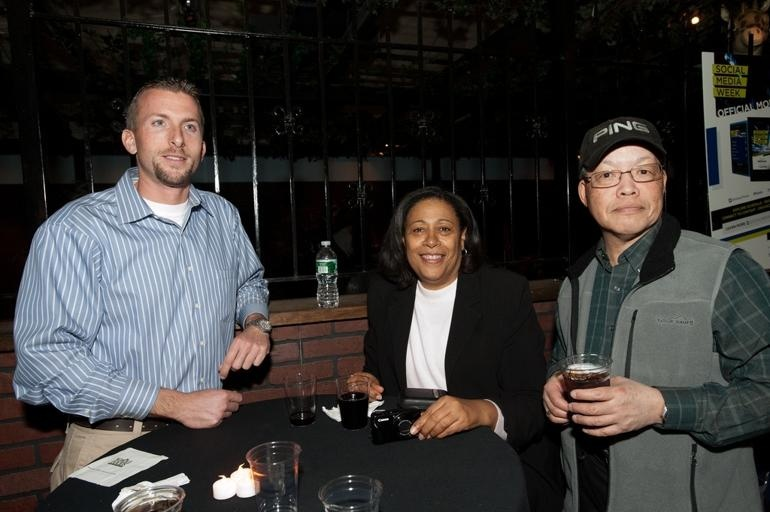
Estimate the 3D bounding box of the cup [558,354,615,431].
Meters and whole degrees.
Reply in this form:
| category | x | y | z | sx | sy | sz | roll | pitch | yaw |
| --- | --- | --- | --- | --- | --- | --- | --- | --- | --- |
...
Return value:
| category | x | y | z | sx | sy | sz | roll | pitch | yaw |
| --- | --- | --- | --- | --- | --- | --- | --- | --- | --- |
| cup | 1.044 | 0.663 | 2.926 | 0.282 | 0.220 | 0.268 | -9 | -3 | 0 |

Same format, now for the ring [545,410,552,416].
| category | x | y | z | sx | sy | sz | roll | pitch | yaw |
| --- | --- | --- | --- | --- | --- | --- | --- | --- | --- |
| ring | 0.901 | 0.860 | 3.123 | 0.012 | 0.034 | 0.025 | -38 | -9 | -27 |

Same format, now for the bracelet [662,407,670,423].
| category | x | y | z | sx | sy | sz | roll | pitch | yaw |
| --- | --- | --- | --- | --- | --- | --- | --- | --- | --- |
| bracelet | 1.411 | 0.802 | 2.864 | 0.065 | 0.065 | 0.016 | -24 | 23 | -38 |

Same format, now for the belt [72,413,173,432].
| category | x | y | z | sx | sy | sz | roll | pitch | yaw |
| --- | --- | --- | --- | --- | --- | --- | --- | --- | --- |
| belt | -1.482 | 0.939 | 3.176 | 0.258 | 0.062 | 0.191 | 3 | -4 | -13 |

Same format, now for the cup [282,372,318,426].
| category | x | y | z | sx | sy | sz | roll | pitch | yaw |
| --- | --- | --- | --- | --- | --- | --- | --- | --- | --- |
| cup | -0.484 | 0.804 | 3.164 | 0.198 | 0.262 | 0.174 | -1 | -11 | -20 |

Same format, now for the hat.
| category | x | y | z | sx | sy | sz | roll | pitch | yaw |
| --- | --- | --- | --- | --- | --- | --- | --- | --- | --- |
| hat | 1.326 | -0.650 | 3.191 | 0.446 | 0.266 | 0.542 | -2 | -6 | 5 |
